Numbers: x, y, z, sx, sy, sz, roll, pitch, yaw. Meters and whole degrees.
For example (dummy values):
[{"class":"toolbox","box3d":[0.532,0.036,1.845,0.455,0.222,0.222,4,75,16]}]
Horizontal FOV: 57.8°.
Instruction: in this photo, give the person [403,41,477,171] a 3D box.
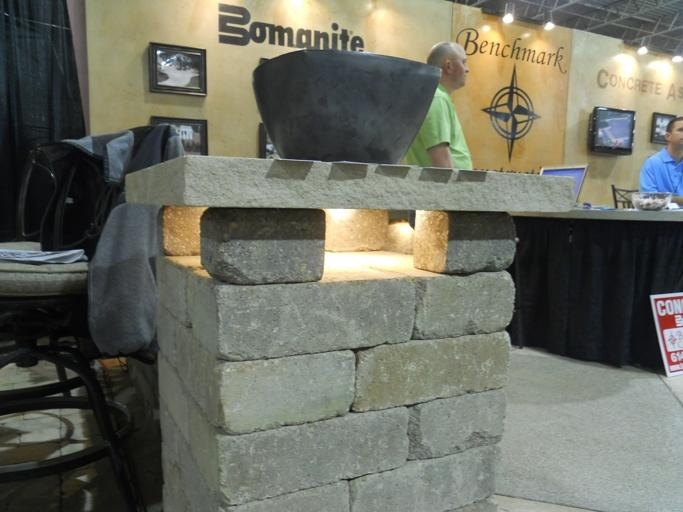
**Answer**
[{"class":"person","box3d":[0.524,-0.808,3.312,0.363,0.705,0.704,3,13,12]}]

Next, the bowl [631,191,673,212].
[{"class":"bowl","box3d":[2.015,-0.353,3.992,0.160,0.080,0.168,0,1,0]}]

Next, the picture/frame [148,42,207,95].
[{"class":"picture/frame","box3d":[-1.282,-1.449,4.737,0.380,0.344,0.028,-4,9,-31]}]

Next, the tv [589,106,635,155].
[{"class":"tv","box3d":[2.966,-1.363,6.741,0.737,0.510,0.167,-8,15,-32]}]

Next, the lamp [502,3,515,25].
[{"class":"lamp","box3d":[1.610,-2.348,5.958,0.110,0.175,0.393,4,14,14]}]

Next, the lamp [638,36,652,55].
[{"class":"lamp","box3d":[3.435,-2.406,7.006,0.124,0.221,0.595,6,14,24]}]
